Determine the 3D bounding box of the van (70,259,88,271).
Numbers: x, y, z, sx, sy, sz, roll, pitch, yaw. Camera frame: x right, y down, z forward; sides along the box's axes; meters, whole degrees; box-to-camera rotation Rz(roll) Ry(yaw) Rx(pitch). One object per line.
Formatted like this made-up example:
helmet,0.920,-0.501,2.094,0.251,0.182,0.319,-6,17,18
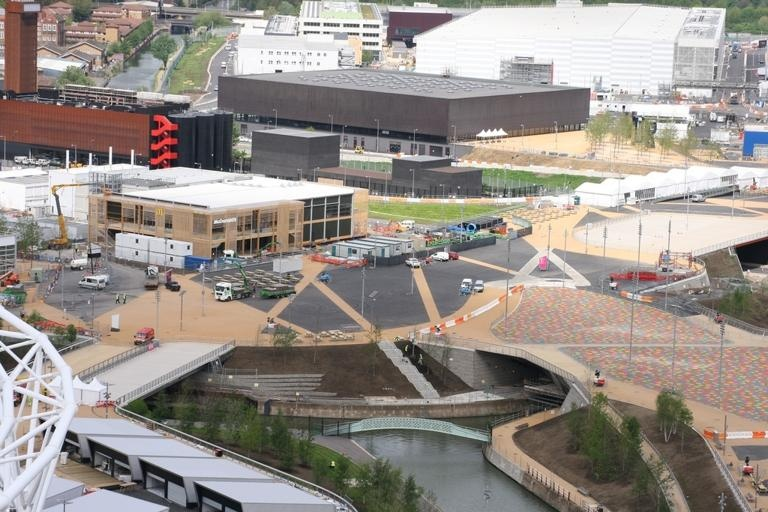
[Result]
van,-36.267,1.249,211.087,2.020,0.945,1.177,-1,11,-10

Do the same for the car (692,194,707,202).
car,43.789,-7.589,249.668,1.219,0.843,1.774,0,14,2

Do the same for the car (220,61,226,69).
car,-33.294,-37.994,367.920,1.281,0.684,8.435,-1,9,-6

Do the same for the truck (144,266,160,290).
truck,-26.773,2.712,204.874,1.433,2.158,2.958,-1,9,-5

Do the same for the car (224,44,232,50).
car,-34.457,-44.439,391.798,1.602,1.025,2.828,-1,6,-2

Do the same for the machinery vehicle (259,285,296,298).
machinery vehicle,-12.164,4.231,202.720,2.899,0.946,1.677,-7,13,-36

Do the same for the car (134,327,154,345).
car,-25.805,8.551,190.795,2.071,1.389,2.466,0,9,1

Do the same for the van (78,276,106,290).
van,-33.524,3.188,204.291,2.550,1.189,1.426,6,14,13

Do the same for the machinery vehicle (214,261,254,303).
machinery vehicle,-17.056,3.172,202.230,4.319,3.775,1.879,-8,10,-38

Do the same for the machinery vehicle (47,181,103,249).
machinery vehicle,-39.841,-5.323,226.156,5.351,7.247,14.290,-2,9,-9

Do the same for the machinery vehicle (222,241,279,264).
machinery vehicle,-16.141,-0.007,215.809,7.923,3.238,2.294,0,8,-40

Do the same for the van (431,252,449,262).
van,6.635,0.369,216.515,1.774,0.825,1.045,15,20,38

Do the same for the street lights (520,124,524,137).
street lights,22.458,-19.819,290.750,0.350,1.656,0.966,7,12,35
